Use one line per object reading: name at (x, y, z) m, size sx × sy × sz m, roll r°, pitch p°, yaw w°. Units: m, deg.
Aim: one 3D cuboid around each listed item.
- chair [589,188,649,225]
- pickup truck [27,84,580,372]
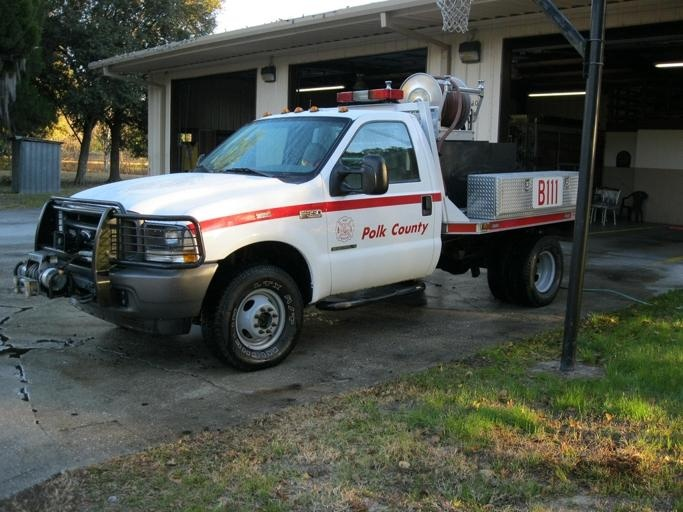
chair at (8.753, -1.541, 19.761) m, size 1.216 × 1.927 × 1.198 m, roll 10°, pitch -7°, yaw -35°
pickup truck at (-0.177, -0.415, 6.868) m, size 5.952 × 2.885 × 1.877 m, roll -8°, pitch 10°, yaw -33°
